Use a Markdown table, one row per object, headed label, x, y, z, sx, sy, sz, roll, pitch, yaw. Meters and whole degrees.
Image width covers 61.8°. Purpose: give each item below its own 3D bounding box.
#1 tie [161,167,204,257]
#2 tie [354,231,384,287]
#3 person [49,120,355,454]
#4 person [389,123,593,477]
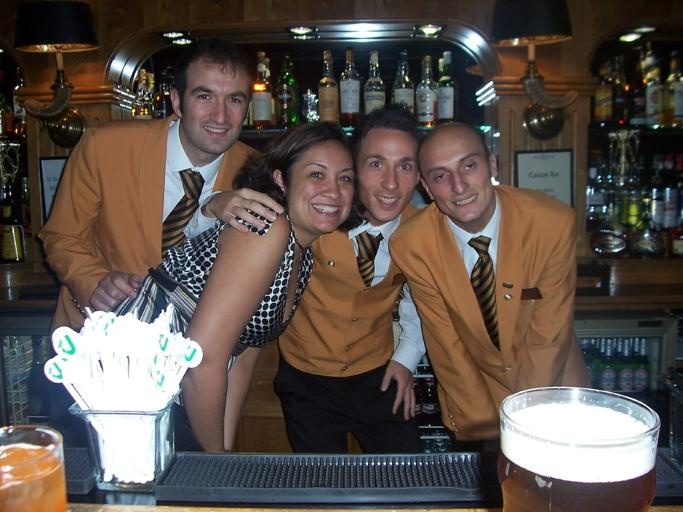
| label | x | y | z | sx | sy | sz | roll | pitch | yaw |
| --- | --- | --- | --- | --- | --- | --- | --- | --- | --- |
| tie | -0.746 | -0.206 | 2.610 | 0.206 | 0.364 | 0.079 | 26 | -11 | -33 |
| tie | 0.110 | 0.023 | 2.600 | 0.126 | 0.276 | 0.047 | 6 | -28 | -11 |
| person | -0.365 | 0.110 | 2.105 | 0.501 | 1.246 | 0.860 | 1 | 4 | 31 |
| person | 0.632 | 0.118 | 2.458 | 0.812 | 1.390 | 0.369 | 0 | 4 | 16 |
